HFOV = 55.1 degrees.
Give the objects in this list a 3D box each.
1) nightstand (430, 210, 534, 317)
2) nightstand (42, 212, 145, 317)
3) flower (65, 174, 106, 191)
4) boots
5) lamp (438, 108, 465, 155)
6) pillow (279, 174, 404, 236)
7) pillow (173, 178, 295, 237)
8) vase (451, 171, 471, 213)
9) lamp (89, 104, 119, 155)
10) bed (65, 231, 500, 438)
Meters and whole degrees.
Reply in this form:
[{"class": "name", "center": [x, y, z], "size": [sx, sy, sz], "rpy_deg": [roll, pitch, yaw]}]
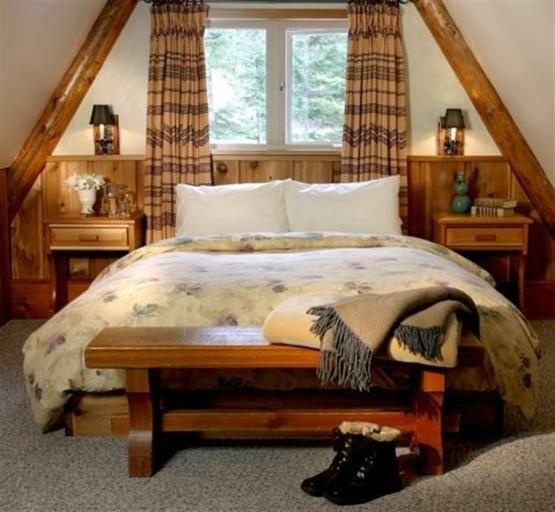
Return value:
[{"class": "nightstand", "center": [1.306, 0.022, 3.714], "size": [0.875, 0.737, 0.646], "rpy_deg": [0, 4, 3]}, {"class": "nightstand", "center": [-1.227, 0.039, 3.663], "size": [0.636, 0.476, 0.371], "rpy_deg": [-4, -4, 0]}, {"class": "flower", "center": [-1.343, -0.494, 3.692], "size": [0.189, 0.065, 0.176], "rpy_deg": [-1, 7, -27]}, {"class": "boots", "center": [0.240, 0.589, 1.589], "size": [0.292, 0.157, 0.195], "rpy_deg": [-7, 10, -32]}, {"class": "lamp", "center": [1.206, -0.863, 3.679], "size": [0.179, 0.324, 0.160], "rpy_deg": [1, 8, 14]}, {"class": "pillow", "center": [0.401, -0.304, 3.263], "size": [0.574, 0.292, 0.143], "rpy_deg": [0, -30, 3]}, {"class": "pillow", "center": [-0.285, -0.288, 3.267], "size": [0.568, 0.393, 0.134], "rpy_deg": [-3, -20, 5]}, {"class": "vase", "center": [1.276, -0.444, 3.686], "size": [0.119, 0.289, 0.187], "rpy_deg": [2, 8, 19]}, {"class": "lamp", "center": [-1.218, -0.900, 3.756], "size": [0.196, 0.353, 0.170], "rpy_deg": [-3, 8, -16]}, {"class": "bed", "center": [-0.123, 0.249, 2.260], "size": [1.313, 0.273, 1.112], "rpy_deg": [-1, 12, 0]}]
